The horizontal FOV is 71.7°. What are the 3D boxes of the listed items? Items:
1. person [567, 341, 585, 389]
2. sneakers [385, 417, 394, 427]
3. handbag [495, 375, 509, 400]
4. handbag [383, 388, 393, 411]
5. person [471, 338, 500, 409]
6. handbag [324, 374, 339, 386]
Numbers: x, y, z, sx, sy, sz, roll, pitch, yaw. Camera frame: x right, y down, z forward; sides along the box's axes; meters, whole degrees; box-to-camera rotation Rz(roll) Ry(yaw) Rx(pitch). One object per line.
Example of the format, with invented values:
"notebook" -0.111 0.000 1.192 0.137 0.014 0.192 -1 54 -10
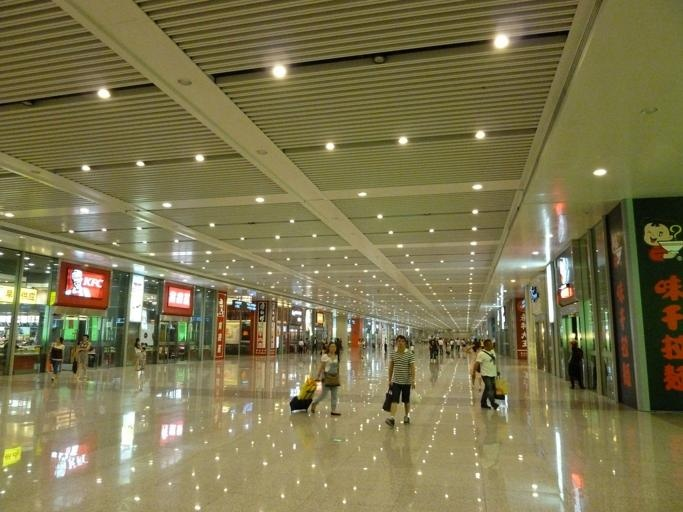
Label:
"person" 7.767 3.564 15.659 0.448 1.549 0.905 -3 -11 25
"sneakers" 0.968 3.262 9.267 0.092 0.114 0.257 4 -35 31
"handbag" 3.818 3.196 11.373 0.240 0.449 0.356 -2 -11 17
"handbag" 0.941 2.874 9.481 0.173 0.482 0.457 0 -10 5
"person" 3.627 2.927 11.952 0.575 1.668 1.417 -1 -11 15
"handbag" -0.221 2.767 10.571 0.365 0.253 0.202 2 -10 -6
